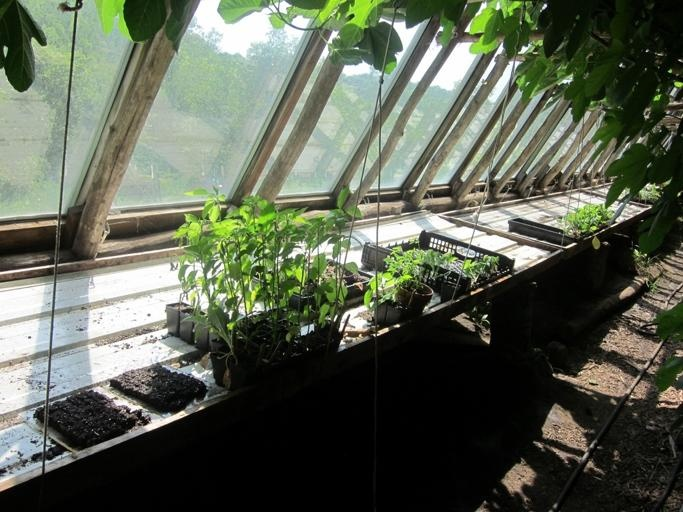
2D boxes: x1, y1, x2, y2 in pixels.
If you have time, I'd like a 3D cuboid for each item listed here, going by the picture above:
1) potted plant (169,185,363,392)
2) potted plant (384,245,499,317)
[{"bbox_3d":[-0.273,0.051,1.772,0.791,0.774,0.727,-12,-12,-15],"label":"potted plant"},{"bbox_3d":[0.526,0.057,2.396,0.439,0.186,0.573,27,33,27],"label":"potted plant"}]
